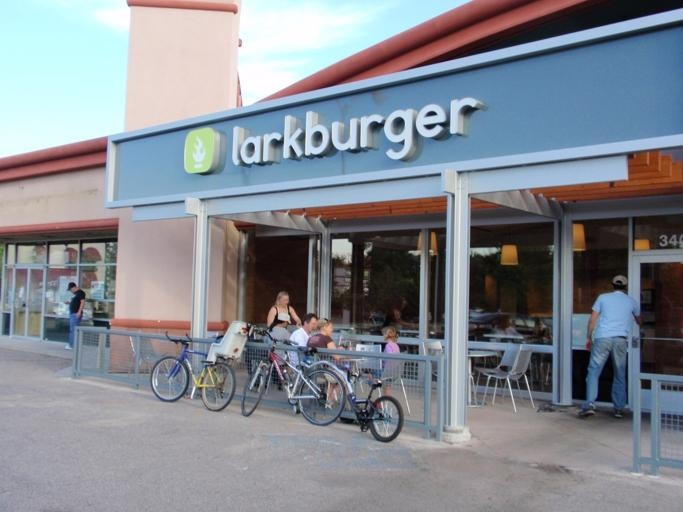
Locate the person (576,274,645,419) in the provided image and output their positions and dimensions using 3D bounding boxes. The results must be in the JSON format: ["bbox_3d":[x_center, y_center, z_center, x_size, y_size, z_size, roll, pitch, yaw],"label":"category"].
[{"bbox_3d":[4.592,1.515,10.817,1.120,2.409,0.525,2,-5,-13],"label":"person"}]

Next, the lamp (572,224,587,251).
[{"bbox_3d":[4.476,-0.352,11.895,0.228,0.537,0.066,-1,-6,25],"label":"lamp"}]

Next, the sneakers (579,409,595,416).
[{"bbox_3d":[4.112,2.630,10.593,0.100,0.114,0.279,4,-16,-16],"label":"sneakers"}]

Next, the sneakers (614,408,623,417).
[{"bbox_3d":[4.660,2.644,10.635,0.111,0.114,0.146,4,4,41],"label":"sneakers"}]

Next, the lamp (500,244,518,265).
[{"bbox_3d":[3.386,-0.015,12.762,0.337,0.383,0.343,-5,-5,43],"label":"lamp"}]

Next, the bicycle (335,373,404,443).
[{"bbox_3d":[0.455,2.202,9.016,0.273,0.786,1.005,5,-7,-40],"label":"bicycle"}]

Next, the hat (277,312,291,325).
[{"bbox_3d":[-1.178,1.241,12.524,0.229,0.234,0.202,7,-13,-42],"label":"hat"}]

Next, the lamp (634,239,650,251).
[{"bbox_3d":[5.357,-0.198,11.261,0.187,0.148,0.193,0,4,-7],"label":"lamp"}]
